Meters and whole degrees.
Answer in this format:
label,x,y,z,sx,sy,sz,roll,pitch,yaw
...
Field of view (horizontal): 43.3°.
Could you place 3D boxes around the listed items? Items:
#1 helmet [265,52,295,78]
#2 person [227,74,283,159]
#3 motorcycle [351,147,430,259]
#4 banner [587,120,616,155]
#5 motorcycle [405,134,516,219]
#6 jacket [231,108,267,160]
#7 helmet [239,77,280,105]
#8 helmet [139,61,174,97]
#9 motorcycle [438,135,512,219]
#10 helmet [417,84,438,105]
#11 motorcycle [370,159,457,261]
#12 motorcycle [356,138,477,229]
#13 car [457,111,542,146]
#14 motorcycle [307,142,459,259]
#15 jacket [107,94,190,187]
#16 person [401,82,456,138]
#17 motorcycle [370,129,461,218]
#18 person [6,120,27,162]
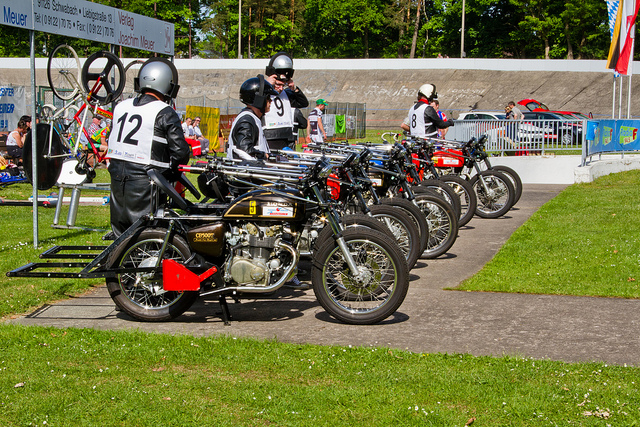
label,x,y,z,sx,sy,sz,roll,pitch,yaw
helmet,-0.704,-2.628,14.263,0.466,0.473,0.482,0,12,-24
person,-0.963,-1.385,11.552,0.673,1.194,0.648,-3,10,-21
motorcycle,1.096,-0.217,12.625,1.865,1.175,0.965,0,5,7
banner,8.453,-2.315,23.987,1.717,1.022,0.077,-6,7,-42
motorcycle,2.741,-0.880,17.561,3.086,1.828,1.469,7,12,37
jacket,-1.039,-1.174,11.835,0.522,0.908,1.078,2,13,-2
helmet,-0.885,-1.818,11.692,0.616,0.421,0.477,7,16,10
helmet,-2.191,-1.891,10.918,0.368,0.450,0.413,8,-36,3
motorcycle,2.874,-0.695,16.586,2.136,1.340,1.204,4,15,7
helmet,2.173,-2.497,16.663,0.334,0.410,0.438,15,17,34
motorcycle,1.635,-0.143,14.172,1.606,0.366,1.611,-21,0,34
motorcycle,2.397,-0.848,15.262,2.763,1.737,1.423,9,22,39
car,8.054,-3.580,35.352,3.788,1.440,1.773,2,8,20
motorcycle,1.136,-0.326,13.999,2.610,1.634,1.533,3,6,6
jacket,-2.419,-1.037,10.935,1.263,1.187,0.680,8,9,8
person,2.215,-1.671,16.753,0.915,1.984,0.696,7,18,26
motorcycle,2.048,-0.898,14.370,0.935,0.951,1.559,14,-9,35
person,-8.177,-1.964,21.768,0.514,1.129,2.139,-4,11,-24
